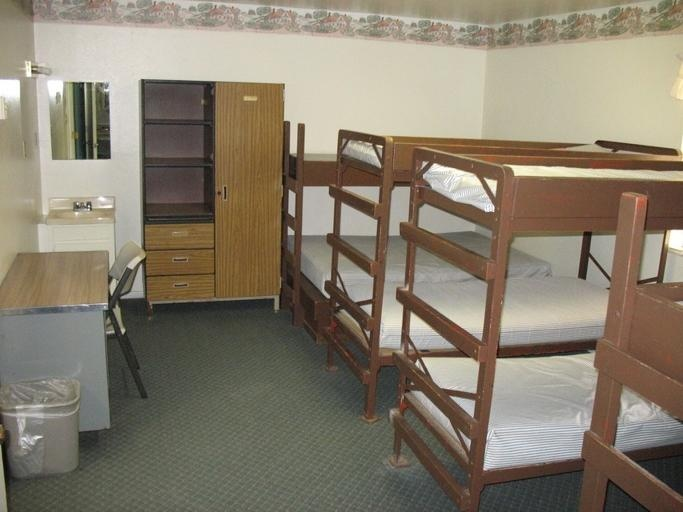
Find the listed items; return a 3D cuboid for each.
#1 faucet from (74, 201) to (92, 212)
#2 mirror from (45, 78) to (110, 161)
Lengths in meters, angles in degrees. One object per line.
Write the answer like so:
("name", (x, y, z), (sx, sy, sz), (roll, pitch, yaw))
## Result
("faucet", (-2.906, -0.554, 6.008), (0.197, 0.104, 0.141), (-8, 16, -25))
("mirror", (-2.885, -1.492, 5.911), (0.644, 0.837, 0.099), (-4, 16, -11))
